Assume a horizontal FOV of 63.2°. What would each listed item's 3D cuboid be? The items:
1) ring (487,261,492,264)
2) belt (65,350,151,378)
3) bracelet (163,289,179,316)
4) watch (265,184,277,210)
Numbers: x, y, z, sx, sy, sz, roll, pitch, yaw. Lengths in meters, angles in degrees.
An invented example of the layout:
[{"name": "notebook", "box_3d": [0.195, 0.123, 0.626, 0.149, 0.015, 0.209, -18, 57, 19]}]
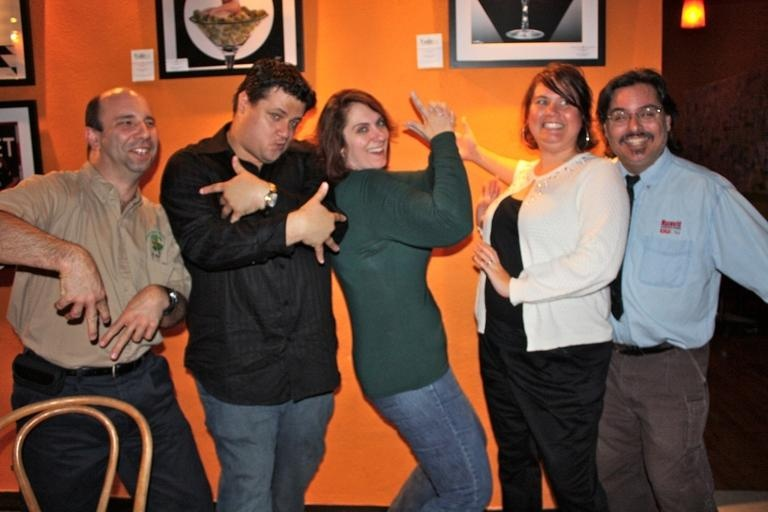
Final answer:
[{"name": "ring", "box_3d": [0.562, 0.034, 3.332, 0.016, 0.016, 0.004, -2, -6, 12]}, {"name": "belt", "box_3d": [-1.445, 0.594, 3.284, 0.407, 0.079, 0.085, -7, 11, -26]}, {"name": "bracelet", "box_3d": [-1.116, 0.243, 3.312, 0.086, 0.116, 0.103, 15, 16, 25]}, {"name": "watch", "box_3d": [-0.552, -0.291, 3.088, 0.061, 0.103, 0.103, 5, -15, -7]}]
